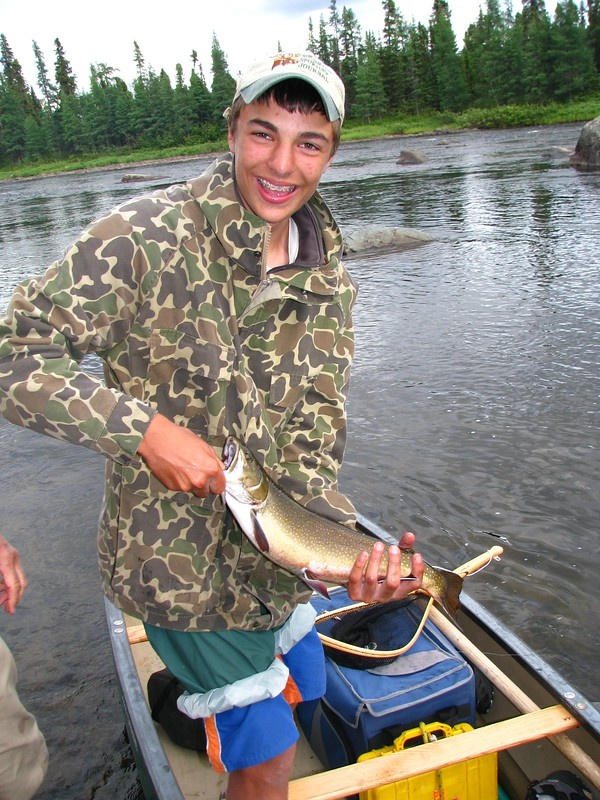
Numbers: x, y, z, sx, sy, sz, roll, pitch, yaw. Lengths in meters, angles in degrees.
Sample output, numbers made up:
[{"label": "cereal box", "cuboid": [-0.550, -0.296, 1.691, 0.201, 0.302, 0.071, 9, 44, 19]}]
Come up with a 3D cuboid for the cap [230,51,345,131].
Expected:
[{"label": "cap", "cuboid": [-0.034, -0.940, 1.865, 0.347, 0.227, 0.254, -8, 15, -2]}]
